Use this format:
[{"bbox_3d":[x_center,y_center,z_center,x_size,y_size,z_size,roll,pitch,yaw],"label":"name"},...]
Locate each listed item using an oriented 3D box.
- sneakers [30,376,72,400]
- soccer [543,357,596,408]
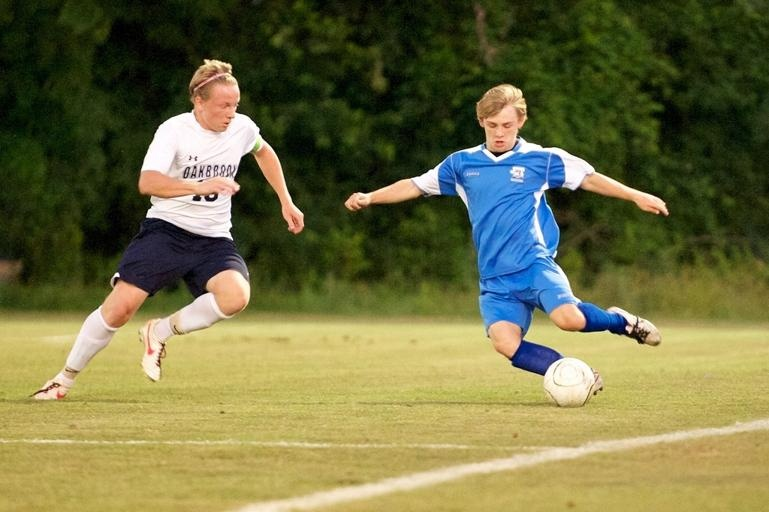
[{"bbox_3d":[-2.893,1.201,9.904,0.311,0.156,0.132,-31,21,-28],"label":"sneakers"},{"bbox_3d":[1.611,1.084,9.784,0.457,0.396,0.423,-10,11,-34],"label":"soccer"}]
